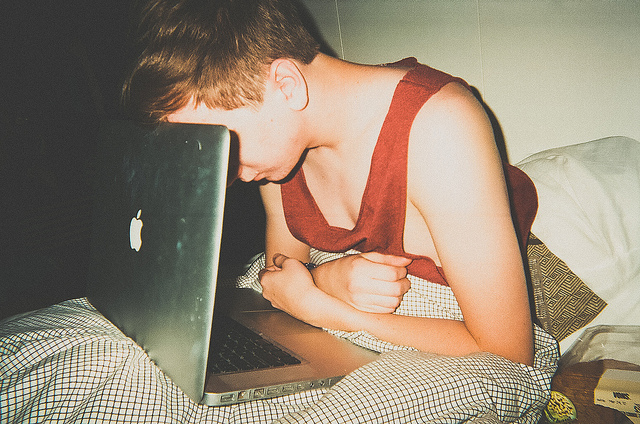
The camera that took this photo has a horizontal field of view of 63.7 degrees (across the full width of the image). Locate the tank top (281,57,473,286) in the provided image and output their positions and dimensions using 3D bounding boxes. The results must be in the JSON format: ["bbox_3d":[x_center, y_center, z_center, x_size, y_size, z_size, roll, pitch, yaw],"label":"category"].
[{"bbox_3d":[0.179,-0.122,1.568,0.321,0.537,0.569,-26,34,-30],"label":"tank top"}]
